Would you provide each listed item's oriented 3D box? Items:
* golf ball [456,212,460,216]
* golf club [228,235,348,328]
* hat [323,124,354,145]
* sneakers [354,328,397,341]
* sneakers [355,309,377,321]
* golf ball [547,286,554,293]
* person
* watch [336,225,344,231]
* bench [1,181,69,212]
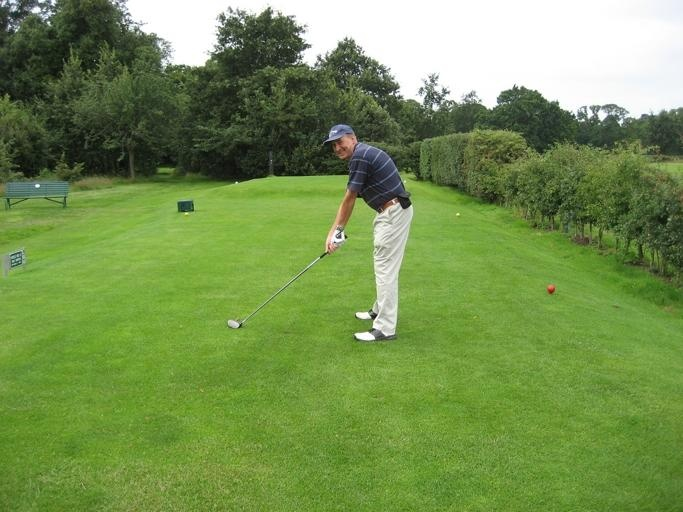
[{"bbox_3d":[3.945,-1.398,19.824,0.167,0.062,0.166,1,20,0],"label":"golf ball"},{"bbox_3d":[-0.914,0.473,9.964,2.236,0.253,0.337,-31,-41,18],"label":"golf club"},{"bbox_3d":[-0.068,-1.604,7.553,0.403,0.221,0.272,-10,3,-31],"label":"hat"},{"bbox_3d":[0.439,1.101,7.883,0.499,0.160,0.207,3,-11,-8],"label":"sneakers"},{"bbox_3d":[0.350,0.869,8.508,0.253,0.107,0.148,6,9,0],"label":"sneakers"},{"bbox_3d":[3.644,0.580,10.181,0.113,0.125,0.121,4,-22,1],"label":"golf ball"},{"bbox_3d":[0.382,-0.268,7.663,1.006,2.801,0.394,4,12,11],"label":"person"},{"bbox_3d":[-0.028,-0.364,7.615,0.070,0.056,0.073,1,-3,5],"label":"watch"},{"bbox_3d":[-12.115,-2.515,23.209,2.152,1.020,2.898,-5,14,-29],"label":"bench"}]
